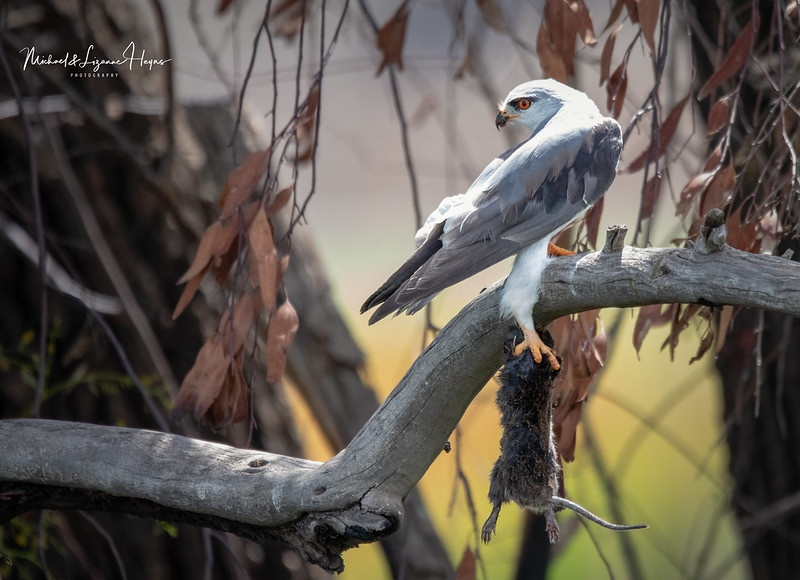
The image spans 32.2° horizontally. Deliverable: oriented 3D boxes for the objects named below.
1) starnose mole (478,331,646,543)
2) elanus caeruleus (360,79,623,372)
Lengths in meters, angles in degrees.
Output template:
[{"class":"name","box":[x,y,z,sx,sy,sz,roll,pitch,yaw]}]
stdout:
[{"class":"starnose mole","box":[0.496,0.520,4.956,0.390,0.614,0.449,1,-43,3]},{"class":"elanus caeruleus","box":[0.354,-0.309,5.334,0.841,1.106,0.497,7,-6,-18]}]
